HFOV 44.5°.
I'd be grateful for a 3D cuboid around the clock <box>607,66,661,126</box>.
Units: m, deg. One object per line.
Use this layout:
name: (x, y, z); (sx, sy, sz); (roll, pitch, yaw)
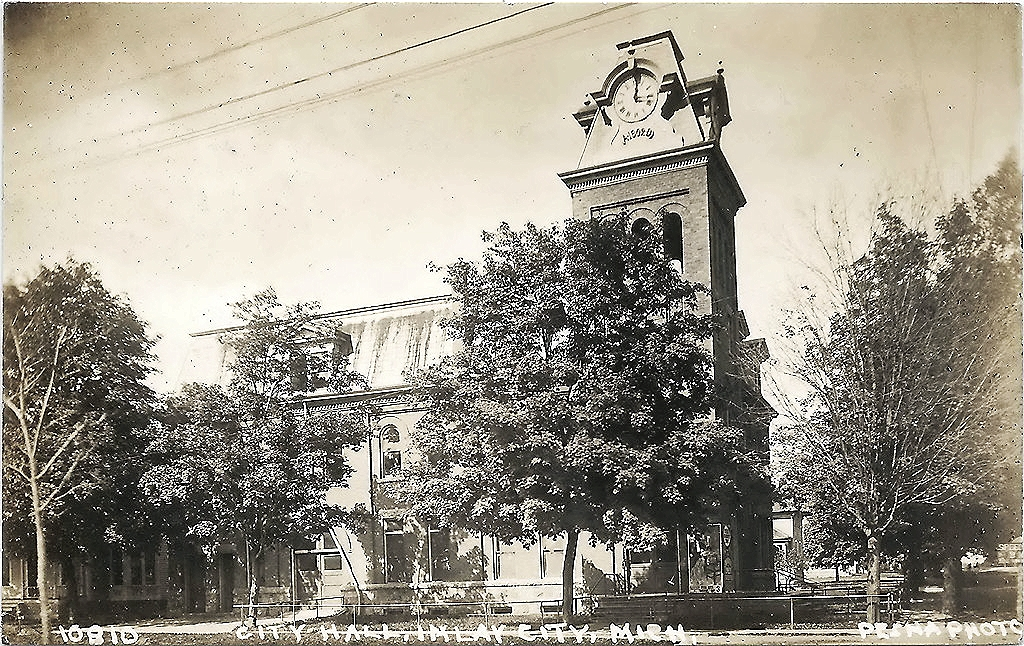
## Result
clock: (3.872, -6.959, 38.828); (1.874, 1.798, 0.093); (-14, 27, -25)
